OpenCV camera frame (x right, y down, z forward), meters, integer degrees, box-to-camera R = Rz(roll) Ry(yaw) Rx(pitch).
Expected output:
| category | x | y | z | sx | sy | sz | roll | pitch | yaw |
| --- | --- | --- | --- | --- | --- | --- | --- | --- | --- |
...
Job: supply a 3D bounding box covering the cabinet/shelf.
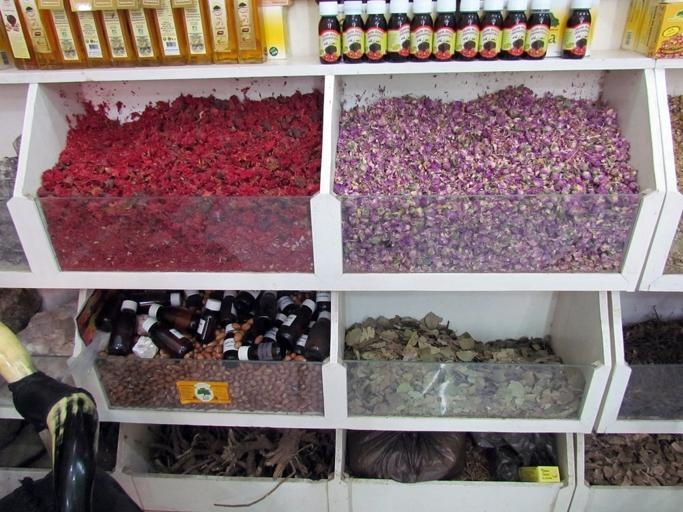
| category | x | y | z | sx | sy | sz | roll | pitch | yaw |
| --- | --- | --- | --- | --- | --- | --- | --- | --- | --- |
| cabinet/shelf | 0.148 | 0.493 | 3.020 | 3.599 | 1.923 | 1.136 | 0 | 64 | 4 |
